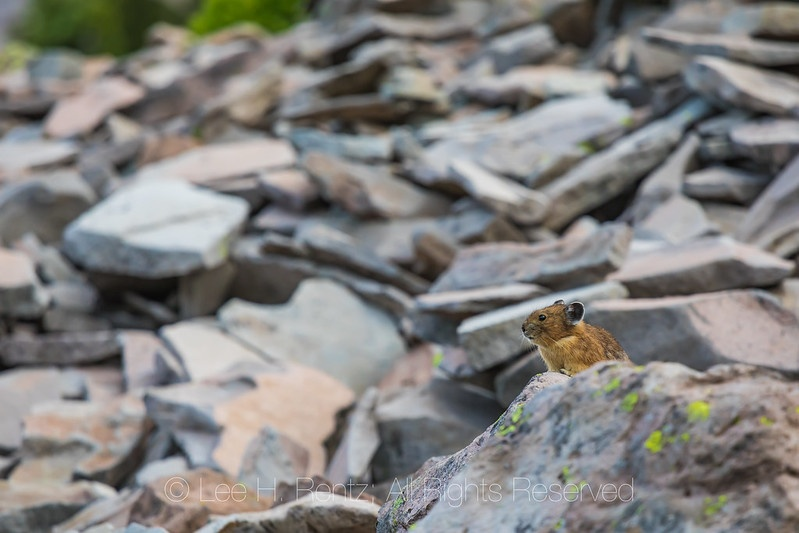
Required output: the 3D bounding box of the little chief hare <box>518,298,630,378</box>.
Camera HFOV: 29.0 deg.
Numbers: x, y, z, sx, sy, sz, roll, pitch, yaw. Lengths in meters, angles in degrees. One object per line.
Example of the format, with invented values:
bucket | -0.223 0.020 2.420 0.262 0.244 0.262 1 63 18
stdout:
little chief hare | 0.878 0.378 7.550 0.307 0.694 0.362 -6 82 56
